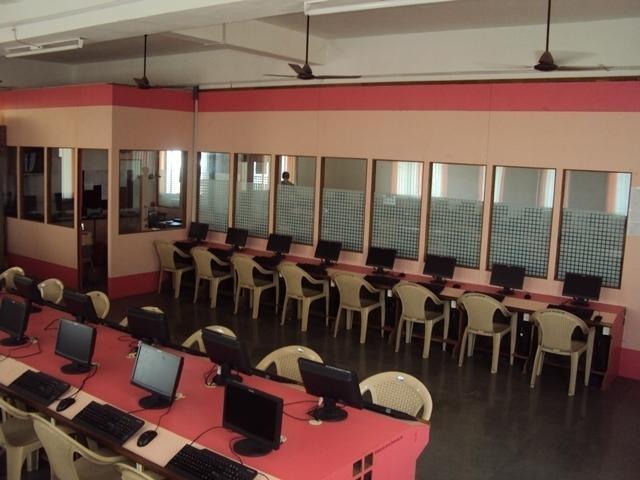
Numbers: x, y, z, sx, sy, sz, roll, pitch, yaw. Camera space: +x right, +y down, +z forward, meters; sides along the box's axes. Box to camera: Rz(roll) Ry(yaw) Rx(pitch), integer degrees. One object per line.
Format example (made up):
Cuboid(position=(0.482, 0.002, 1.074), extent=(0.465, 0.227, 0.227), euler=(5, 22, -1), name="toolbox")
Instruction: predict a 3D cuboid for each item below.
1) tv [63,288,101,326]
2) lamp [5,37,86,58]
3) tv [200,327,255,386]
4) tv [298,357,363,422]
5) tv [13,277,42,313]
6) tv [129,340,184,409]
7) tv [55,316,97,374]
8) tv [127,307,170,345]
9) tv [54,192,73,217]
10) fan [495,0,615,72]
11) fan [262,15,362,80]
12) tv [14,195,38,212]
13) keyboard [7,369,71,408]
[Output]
Cuboid(position=(-2.696, 0.774, 5.655), extent=(0.335, 0.350, 0.141), euler=(14, 23, 29), name="tv")
Cuboid(position=(-4.102, -2.877, 7.470), extent=(1.528, 0.172, 0.407), euler=(3, 17, 32), name="lamp")
Cuboid(position=(-0.847, 1.070, 4.577), extent=(0.478, 0.491, 0.265), euler=(10, 14, 33), name="tv")
Cuboid(position=(0.089, 1.206, 4.067), extent=(0.521, 0.491, 0.238), euler=(5, 12, 16), name="tv")
Cuboid(position=(-3.537, 0.674, 6.026), extent=(0.327, 0.491, 0.288), euler=(11, 14, 36), name="tv")
Cuboid(position=(-1.417, 1.185, 4.317), extent=(0.431, 0.398, 0.245), euler=(10, 4, 33), name="tv")
Cuboid(position=(-2.337, 1.031, 4.785), extent=(0.416, 0.406, 0.236), euler=(8, 2, 29), name="tv")
Cuboid(position=(-1.730, 0.875, 4.993), extent=(0.357, 0.354, 0.188), euler=(12, 34, 15), name="tv")
Cuboid(position=(-4.990, -0.694, 9.761), extent=(0.469, 0.469, 0.274), euler=(4, 4, 40), name="tv")
Cuboid(position=(3.398, -2.893, 7.053), extent=(1.111, 1.162, 1.061), euler=(6, 26, 26), name="fan")
Cuboid(position=(-0.075, -3.358, 8.620), extent=(1.137, 1.129, 1.283), euler=(9, 8, 13), name="fan")
Cuboid(position=(-6.167, -0.771, 10.503), extent=(0.300, 0.290, 0.098), euler=(9, 14, 20), name="tv")
Cuboid(position=(-2.530, 1.320, 4.490), extent=(0.639, 0.109, 0.247), euler=(9, 14, 29), name="keyboard")
